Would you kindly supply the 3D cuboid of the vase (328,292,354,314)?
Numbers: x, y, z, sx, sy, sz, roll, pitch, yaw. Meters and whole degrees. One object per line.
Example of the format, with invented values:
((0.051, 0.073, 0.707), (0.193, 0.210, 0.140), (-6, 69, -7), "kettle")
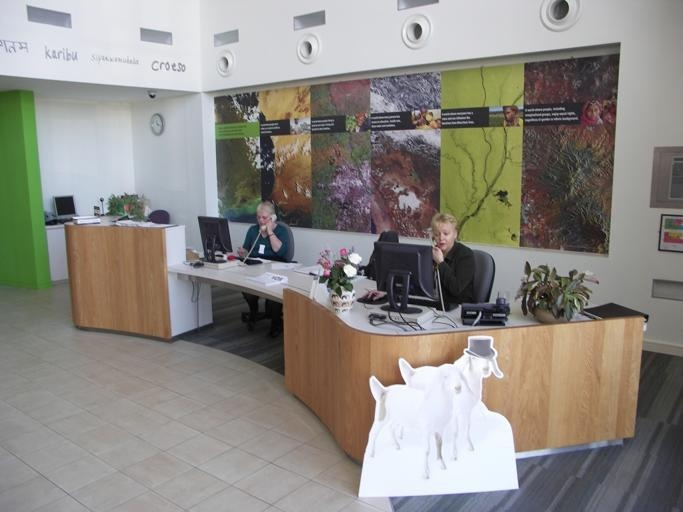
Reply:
((-0.002, 0.391, 3.901), (0.166, 0.187, 0.180), (-2, 11, -11), "vase")

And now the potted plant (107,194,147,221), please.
((-3.898, -0.871, 8.353), (0.775, 0.603, 0.771), (2, 0, -20), "potted plant")

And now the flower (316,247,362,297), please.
((-0.005, 0.119, 3.975), (0.322, 0.417, 0.385), (4, 10, 26), "flower")

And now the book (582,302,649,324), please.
((2.187, 0.467, 3.749), (0.281, 0.084, 0.309), (-8, 10, -30), "book")

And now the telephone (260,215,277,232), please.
((-0.978, -0.422, 6.114), (0.232, 0.273, 0.207), (-4, 14, -12), "telephone")

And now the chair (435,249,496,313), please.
((1.128, 0.227, 4.385), (0.547, 0.679, 0.454), (1, -2, -39), "chair")

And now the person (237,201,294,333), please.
((-1.109, 0.201, 6.231), (0.595, 1.672, 0.858), (8, 11, 25), "person")

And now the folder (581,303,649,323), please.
((2.200, 0.464, 3.760), (0.290, 0.083, 0.301), (-10, 12, -41), "folder")

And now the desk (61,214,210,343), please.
((-2.844, 0.290, 6.225), (1.464, 1.366, 0.862), (0, 7, 8), "desk")

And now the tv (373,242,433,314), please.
((0.505, 0.184, 3.736), (0.461, 0.524, 0.182), (7, 27, 27), "tv")

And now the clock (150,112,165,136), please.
((-3.625, -2.591, 9.104), (0.371, 0.418, 0.088), (2, 7, 43), "clock")

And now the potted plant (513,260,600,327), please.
((1.687, 0.278, 3.643), (0.518, 0.424, 0.489), (-5, 7, -18), "potted plant")
